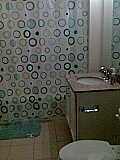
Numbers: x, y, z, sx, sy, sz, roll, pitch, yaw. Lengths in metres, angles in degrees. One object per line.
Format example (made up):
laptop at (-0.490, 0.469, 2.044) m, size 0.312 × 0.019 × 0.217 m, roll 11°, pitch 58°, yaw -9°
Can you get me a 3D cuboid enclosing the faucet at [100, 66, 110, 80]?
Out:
faucet at (0.597, -0.067, 2.004) m, size 0.115 × 0.153 × 0.394 m, roll -2°, pitch -6°, yaw 15°
